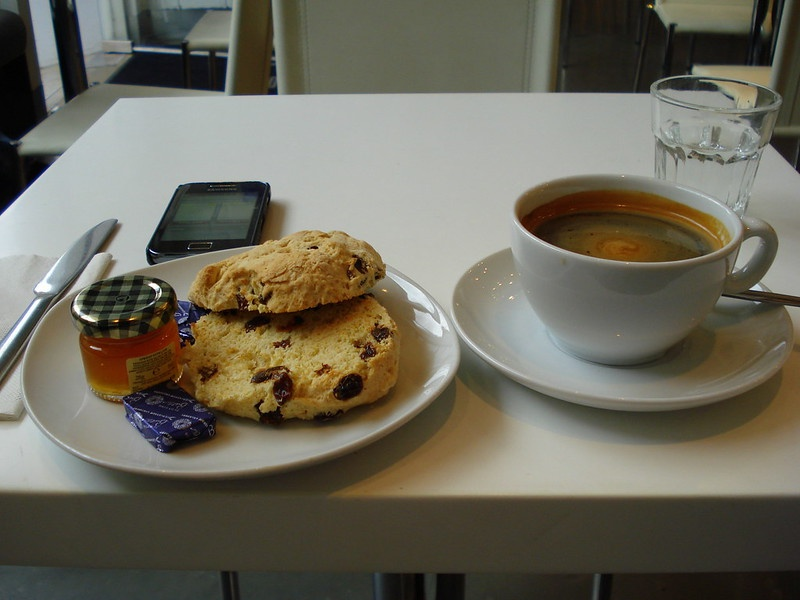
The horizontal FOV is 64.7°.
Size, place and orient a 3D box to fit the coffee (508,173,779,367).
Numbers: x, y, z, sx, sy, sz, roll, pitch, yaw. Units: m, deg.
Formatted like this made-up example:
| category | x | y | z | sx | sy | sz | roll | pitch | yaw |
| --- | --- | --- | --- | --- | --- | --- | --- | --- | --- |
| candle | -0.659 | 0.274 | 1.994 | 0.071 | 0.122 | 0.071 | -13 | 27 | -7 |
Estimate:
| category | x | y | z | sx | sy | sz | roll | pitch | yaw |
| --- | --- | --- | --- | --- | --- | --- | --- | --- | --- |
| coffee | 0.200 | -0.007 | 0.572 | 0.202 | 0.111 | 0.173 | 3 | 42 | 9 |

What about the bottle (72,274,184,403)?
| category | x | y | z | sx | sy | sz | roll | pitch | yaw |
| --- | --- | --- | --- | --- | --- | --- | --- | --- | --- |
| bottle | -0.207 | 0.032 | 0.540 | 0.085 | 0.095 | 0.087 | -2 | 37 | -5 |

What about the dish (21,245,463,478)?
| category | x | y | z | sx | sy | sz | roll | pitch | yaw |
| --- | --- | --- | --- | --- | --- | --- | --- | --- | --- |
| dish | -0.128 | 0.047 | 0.520 | 0.351 | 0.045 | 0.234 | -2 | 28 | -6 |

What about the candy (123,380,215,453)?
| category | x | y | z | sx | sy | sz | roll | pitch | yaw |
| --- | --- | --- | --- | --- | --- | --- | --- | --- | --- |
| candy | -0.175 | 0.087 | 0.475 | 0.063 | 0.022 | 0.046 | 27 | 29 | 34 |

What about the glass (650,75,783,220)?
| category | x | y | z | sx | sy | sz | roll | pitch | yaw |
| --- | --- | --- | --- | --- | --- | --- | --- | --- | --- |
| glass | 0.375 | -0.182 | 0.754 | 0.142 | 0.163 | 0.148 | 18 | 42 | 27 |
